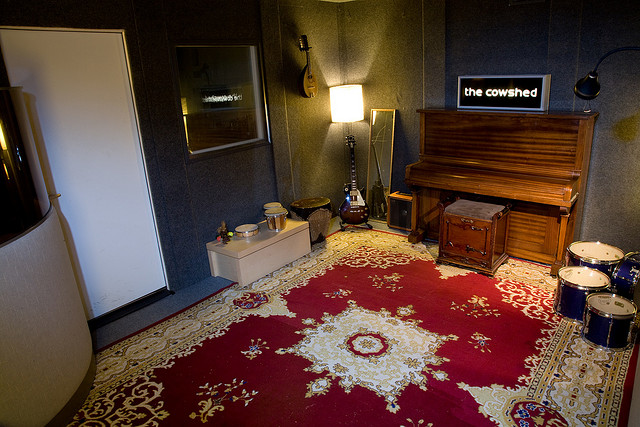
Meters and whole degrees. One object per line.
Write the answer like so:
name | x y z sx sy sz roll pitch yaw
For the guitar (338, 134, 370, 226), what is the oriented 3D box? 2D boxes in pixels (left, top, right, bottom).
guitar | 0.481 -0.437 6.103 0.354 1.357 0.358 -15 22 -41

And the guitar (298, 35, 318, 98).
guitar | -0.199 -1.996 5.791 0.186 0.807 0.315 8 22 26

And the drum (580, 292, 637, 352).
drum | 2.646 0.992 3.902 0.431 0.459 0.309 5 21 17

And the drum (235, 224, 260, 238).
drum | -0.919 0.222 5.330 0.280 0.120 0.172 -9 21 -21

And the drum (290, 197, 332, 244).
drum | -0.164 0.102 5.968 0.442 0.580 0.519 14 25 38

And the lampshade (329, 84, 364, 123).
lampshade | 0.374 -1.556 6.095 0.495 0.533 0.499 -4 13 2

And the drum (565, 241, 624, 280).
drum | 2.813 0.422 4.384 0.409 0.297 0.412 -1 15 0

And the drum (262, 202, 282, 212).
drum | -0.636 -0.066 5.614 0.246 0.122 0.332 -5 19 -10
